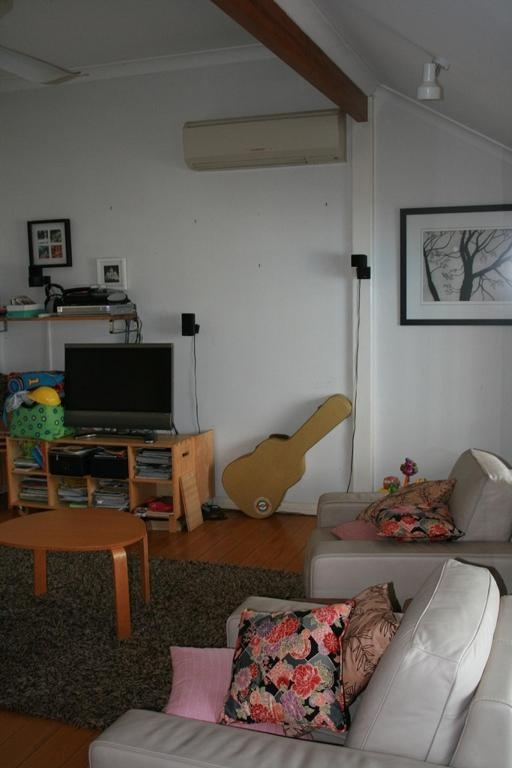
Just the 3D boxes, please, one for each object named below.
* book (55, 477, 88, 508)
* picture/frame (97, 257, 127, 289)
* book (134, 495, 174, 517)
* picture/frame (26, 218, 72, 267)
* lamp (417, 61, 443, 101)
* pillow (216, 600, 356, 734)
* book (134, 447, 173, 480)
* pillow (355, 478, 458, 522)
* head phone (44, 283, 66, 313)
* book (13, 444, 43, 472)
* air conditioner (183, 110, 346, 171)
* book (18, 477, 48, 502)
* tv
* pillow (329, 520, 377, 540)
[{"bbox_3d":[-1.393,0.818,4.714,0.204,0.084,0.247,2,1,-2],"label":"book"},{"bbox_3d":[-1.147,-0.888,4.941,0.261,0.274,0.019,4,12,20],"label":"picture/frame"},{"bbox_3d":[-0.740,0.882,4.423,0.253,0.067,0.251,1,7,1],"label":"book"},{"bbox_3d":[-1.706,-1.176,5.117,0.410,0.391,0.047,2,3,22],"label":"picture/frame"},{"bbox_3d":[0.713,-1.230,2.516,0.085,0.194,0.214,0,4,18],"label":"lamp"},{"bbox_3d":[0.074,0.622,1.378,0.284,0.261,0.086,-8,-29,29],"label":"pillow"},{"bbox_3d":[-0.726,0.567,4.413,0.329,0.199,0.139,1,4,28],"label":"book"},{"bbox_3d":[0.650,0.469,2.526,0.245,0.074,0.236,-21,-2,-3],"label":"pillow"},{"bbox_3d":[-1.654,-0.702,5.042,0.161,0.256,0.459,-2,4,-18],"label":"head phone"},{"bbox_3d":[-1.727,0.557,4.705,0.175,0.236,0.071,3,8,24],"label":"book"},{"bbox_3d":[0.047,-1.680,4.279,1.087,0.349,0.290,-1,25,8],"label":"air conditioner"},{"bbox_3d":[-1.713,0.819,4.794,0.165,0.068,0.222,3,0,-4],"label":"book"},{"bbox_3d":[-1.014,0.068,4.661,0.717,0.526,0.100,1,3,17],"label":"tv"},{"bbox_3d":[0.427,0.633,2.657,0.130,0.039,0.129,-2,4,3],"label":"pillow"}]
